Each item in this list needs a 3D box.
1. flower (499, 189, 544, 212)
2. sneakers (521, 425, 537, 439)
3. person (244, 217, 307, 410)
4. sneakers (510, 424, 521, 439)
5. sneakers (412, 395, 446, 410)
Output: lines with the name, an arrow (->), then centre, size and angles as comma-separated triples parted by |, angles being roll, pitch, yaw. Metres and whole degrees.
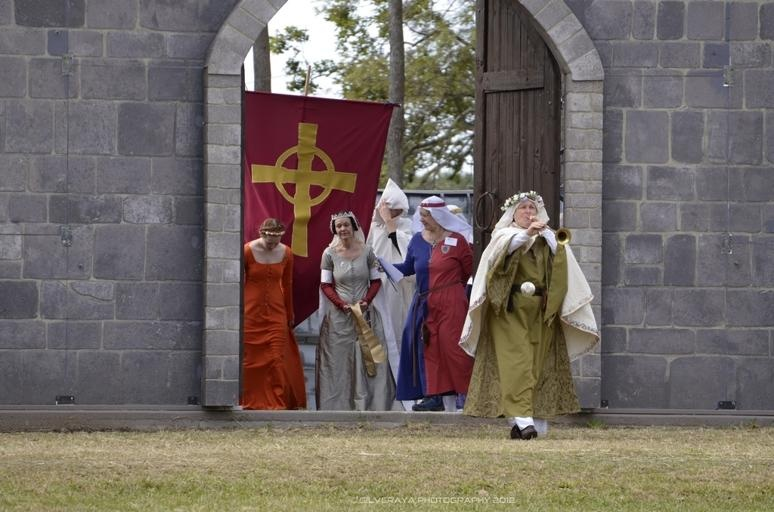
flower -> 1.399, -0.554, 22.621 | 0.312, 0.139, 0.286 | -9, -6, -11
sneakers -> 1.449, 1.809, 22.148 | 0.205, 0.150, 0.107 | 2, -5, -30
person -> -1.245, 0.671, 23.852 | 0.406, 2.048, 0.880 | -5, -6, 43
sneakers -> 1.293, 1.807, 22.204 | 0.075, 0.152, 0.183 | 1, -4, -19
sneakers -> 0.454, 1.640, 23.944 | 0.368, 0.237, 0.136 | 2, -7, 4
